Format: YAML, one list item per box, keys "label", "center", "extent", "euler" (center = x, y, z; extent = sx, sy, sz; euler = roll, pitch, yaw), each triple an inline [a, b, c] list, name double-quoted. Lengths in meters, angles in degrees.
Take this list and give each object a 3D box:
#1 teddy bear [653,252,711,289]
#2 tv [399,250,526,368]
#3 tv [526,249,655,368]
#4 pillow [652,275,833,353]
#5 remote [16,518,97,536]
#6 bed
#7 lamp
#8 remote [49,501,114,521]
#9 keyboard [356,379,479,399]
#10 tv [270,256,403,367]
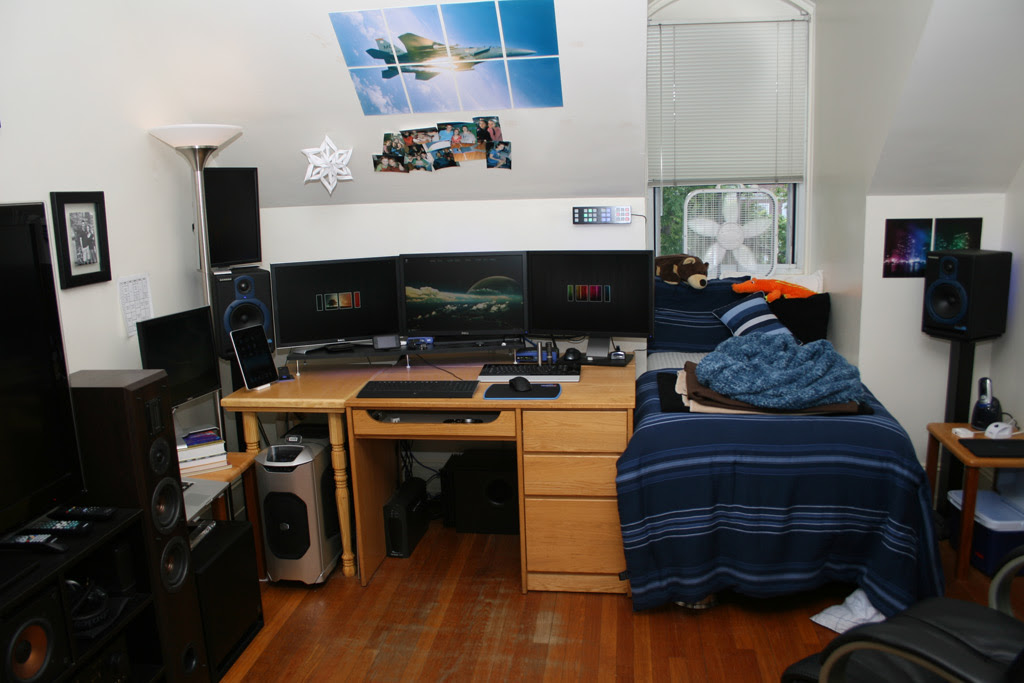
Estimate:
- label: "teddy bear"
  center: [1.047, -0.441, 4.412]
  extent: [0.214, 0.127, 0.291]
  euler: [-5, 13, -26]
- label: "tv"
  center: [-0.266, -0.188, 3.843]
  extent: [0.624, 0.523, 0.241]
  euler: [-2, 10, 1]
- label: "tv"
  center: [0.402, -0.194, 3.798]
  extent: [0.656, 0.464, 0.195]
  euler: [1, 11, 6]
- label: "pillow"
  center: [1.335, -0.153, 4.321]
  extent: [0.661, 0.628, 0.227]
  euler: [-1, -30, 9]
- label: "remote"
  center: [-1.590, 0.649, 2.509]
  extent: [0.164, 0.030, 0.087]
  euler: [2, 6, -2]
- label: "bed"
  center: [1.197, 0.426, 3.758]
  extent: [1.155, 0.990, 1.631]
  euler: [-3, 11, 6]
- label: "lamp"
  center: [-1.568, -0.651, 3.649]
  extent: [0.463, 0.888, 0.255]
  euler: [0, 16, 24]
- label: "remote"
  center: [-1.552, 0.621, 2.595]
  extent: [0.176, 0.034, 0.085]
  euler: [3, 3, 0]
- label: "keyboard"
  center: [-0.438, 0.230, 3.449]
  extent: [0.307, 0.041, 0.115]
  euler: [1, 35, 10]
- label: "tv"
  center: [-0.916, -0.167, 3.779]
  extent: [0.616, 0.419, 0.053]
  euler: [-3, 12, -13]
